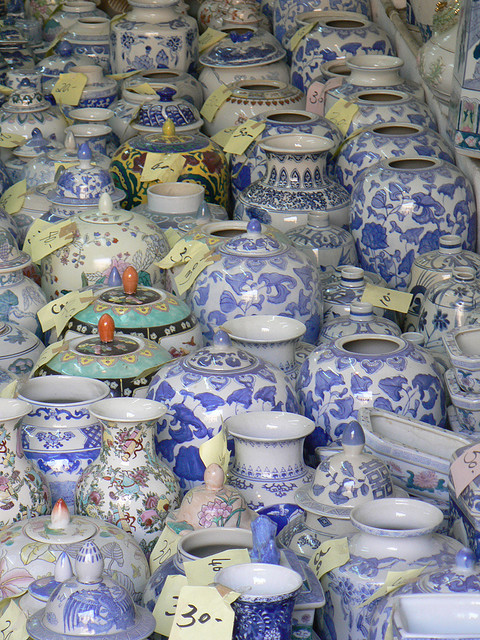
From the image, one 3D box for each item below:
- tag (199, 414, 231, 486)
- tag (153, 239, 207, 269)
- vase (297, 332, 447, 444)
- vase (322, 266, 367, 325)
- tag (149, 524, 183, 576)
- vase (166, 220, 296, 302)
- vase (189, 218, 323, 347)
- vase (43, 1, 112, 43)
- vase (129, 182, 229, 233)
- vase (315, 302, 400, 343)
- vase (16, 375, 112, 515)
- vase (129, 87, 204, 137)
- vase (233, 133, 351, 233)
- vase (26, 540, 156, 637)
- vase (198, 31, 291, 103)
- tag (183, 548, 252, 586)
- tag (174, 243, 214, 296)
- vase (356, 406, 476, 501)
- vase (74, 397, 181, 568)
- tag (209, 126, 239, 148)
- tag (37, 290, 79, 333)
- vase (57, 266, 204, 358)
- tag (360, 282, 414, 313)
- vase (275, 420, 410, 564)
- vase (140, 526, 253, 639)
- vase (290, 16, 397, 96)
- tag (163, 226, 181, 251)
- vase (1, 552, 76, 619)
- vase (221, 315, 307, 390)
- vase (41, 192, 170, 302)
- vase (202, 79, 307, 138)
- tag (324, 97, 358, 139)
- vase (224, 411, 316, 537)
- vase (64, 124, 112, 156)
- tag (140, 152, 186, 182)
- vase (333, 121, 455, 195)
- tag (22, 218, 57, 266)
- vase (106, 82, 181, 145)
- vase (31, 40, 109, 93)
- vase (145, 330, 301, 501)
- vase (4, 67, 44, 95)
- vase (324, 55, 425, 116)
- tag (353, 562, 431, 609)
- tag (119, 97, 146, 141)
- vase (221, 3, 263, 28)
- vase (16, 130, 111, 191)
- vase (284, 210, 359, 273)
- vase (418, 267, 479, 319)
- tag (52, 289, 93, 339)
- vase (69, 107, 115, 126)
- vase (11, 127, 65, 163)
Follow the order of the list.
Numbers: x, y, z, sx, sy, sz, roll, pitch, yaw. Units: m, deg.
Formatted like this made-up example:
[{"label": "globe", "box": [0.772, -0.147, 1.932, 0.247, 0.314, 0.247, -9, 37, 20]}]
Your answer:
[{"label": "tag", "box": [-0.050, 0.266, 1.124, 0.079, 0.109, 0.048, 13, 25, -19]}, {"label": "tag", "box": [-0.211, -0.220, 1.889, 0.144, 0.036, 0.088, -25, 58, -6]}, {"label": "vase", "box": [0.338, 0.148, 1.516, 0.352, 0.358, 0.320, -4, 16, -8]}, {"label": "vase", "box": [0.361, -0.110, 2.036, 0.195, 0.177, 0.195, 13, 24, 36]}, {"label": "tag", "box": [-0.135, 0.422, 1.008, 0.066, 0.085, 0.007, 21, -23, -37]}, {"label": "vase", "box": [-0.096, -0.237, 1.959, 0.355, 0.201, 0.340, -2, 12, -8]}, {"label": "vase", "box": [0.095, -0.187, 1.922, 0.413, 0.471, 0.412, 16, 25, 38]}, {"label": "vase", "box": [-1.110, -2.021, 3.783, 0.345, 0.220, 0.334, -14, 34, -23]}, {"label": "vase", "box": [-0.280, -0.463, 2.277, 0.343, 0.187, 0.326, 0, 40, -15]}, {"label": "vase", "box": [0.357, 0.006, 1.720, 0.170, 0.082, 0.163, -2, 14, -3]}, {"label": "vase", "box": [-0.360, 0.238, 1.226, 0.266, 0.294, 0.274, -1, 10, -9]}, {"label": "vase", "box": [-0.398, -1.035, 2.763, 0.349, 0.219, 0.317, 1, 31, -19]}, {"label": "vase", "box": [0.183, -0.585, 2.386, 0.439, 0.435, 0.427, -1, 19, -3]}, {"label": "vase", "box": [-0.181, 0.345, 0.669, 0.134, 0.080, 0.130, 0, 8, 0]}, {"label": "vase", "box": [0.009, -1.462, 3.221, 0.494, 0.345, 0.481, -21, 43, -17]}, {"label": "tag", "box": [-0.040, 0.362, 0.816, 0.060, 0.057, 0.058, -3, 3, 5]}, {"label": "tag", "box": [-0.157, -0.166, 1.831, 0.016, 0.187, 0.091, 18, 35, -42]}, {"label": "vase", "box": [0.362, 0.280, 1.243, 0.254, 0.094, 0.162, 19, 22, 25]}, {"label": "vase", "box": [-0.236, 0.345, 1.146, 0.212, 0.327, 0.205, 7, 7, 6]}, {"label": "tag", "box": [-0.082, -0.920, 2.782, 0.144, 0.040, 0.129, -10, 37, -11]}, {"label": "tag", "box": [-0.560, -0.024, 1.660, 0.126, 0.040, 0.114, -1, 56, -4]}, {"label": "vase", "box": [-0.359, -0.017, 1.685, 0.471, 0.286, 0.453, 3, 13, -24]}, {"label": "tag", "box": [0.499, -0.072, 1.896, 0.133, 0.013, 0.074, 12, 62, 9]}, {"label": "vase", "box": [0.178, 0.286, 1.093, 0.256, 0.248, 0.250, 6, 14, 19]}, {"label": "vase", "box": [-0.066, 0.372, 0.901, 0.181, 0.197, 0.182, 3, 15, 3]}, {"label": "vase", "box": [0.593, -1.444, 3.273, 0.572, 0.510, 0.543, 1, 24, 9]}, {"label": "tag", "box": [-0.257, -0.315, 2.108, 0.060, 0.095, 0.097, -1, 11, 0]}, {"label": "vase", "box": [-0.276, 0.372, 0.767, 0.109, 0.053, 0.104, -3, 16, -5]}, {"label": "vase", "box": [0.056, 0.058, 1.582, 0.220, 0.243, 0.210, -3, 17, -7]}, {"label": "vase", "box": [-0.495, -0.217, 1.959, 0.413, 0.371, 0.399, 8, 22, 14]}, {"label": "vase", "box": [0.081, -1.061, 2.961, 0.446, 0.399, 0.396, 0, 21, 0]}, {"label": "tag", "box": [0.511, -0.929, 2.624, 0.047, 0.171, 0.191, 8, 19, -47]}, {"label": "vase", "box": [0.059, 0.304, 1.173, 0.226, 0.278, 0.224, 1, 7, 0]}, {"label": "vase", "box": [-0.740, -0.903, 2.714, 0.218, 0.156, 0.208, -9, 18, -23]}, {"label": "tag", "box": [-0.340, -0.662, 2.382, 0.143, 0.128, 0.048, 3, -12, 2]}, {"label": "vase", "box": [0.685, -0.712, 2.523, 0.402, 0.433, 0.388, 2, 20, 13]}, {"label": "tag", "box": [-0.756, -0.269, 2.140, 0.047, 0.186, 0.202, 20, -7, -42]}, {"label": "vase", "box": [-0.530, -1.099, 3.026, 0.398, 0.359, 0.364, -6, 32, -18]}, {"label": "vase", "box": [-1.035, -1.480, 3.381, 0.421, 0.261, 0.400, -2, 27, -3]}, {"label": "vase", "box": [-0.050, 0.188, 1.510, 0.398, 0.451, 0.391, 10, 18, 25]}, {"label": "vase", "box": [-1.189, -1.361, 3.156, 0.197, 0.179, 0.195, 6, 17, 17]}, {"label": "vase", "box": [0.654, -1.112, 2.781, 0.374, 0.323, 0.379, 17, 28, 39]}, {"label": "tag", "box": [0.207, 0.380, 0.776, 0.012, 0.033, 0.113, 4, -23, -40]}, {"label": "tag", "box": [-0.523, -1.026, 2.804, 0.044, 0.147, 0.155, 29, 6, -3]}, {"label": "vase", "box": [0.015, -1.959, 3.566, 0.217, 0.140, 0.217, 27, 44, 31]}, {"label": "vase", "box": [-0.808, -0.700, 2.610, 0.361, 0.271, 0.367, -16, 28, -36]}, {"label": "vase", "box": [0.318, -0.299, 2.234, 0.309, 0.262, 0.302, 10, 31, 21]}, {"label": "vase", "box": [0.709, -0.111, 1.876, 0.119, 0.119, 0.113, -3, 15, -9]}, {"label": "tag", "box": [-0.482, -0.035, 1.607, 0.033, 0.112, 0.174, 20, 21, 11]}, {"label": "vase", "box": [-0.772, -1.063, 2.885, 0.168, 0.062, 0.166, 13, 25, 33]}, {"label": "vase", "box": [-1.007, -0.861, 2.761, 0.227, 0.116, 0.217, 1, 27, 2]}]
